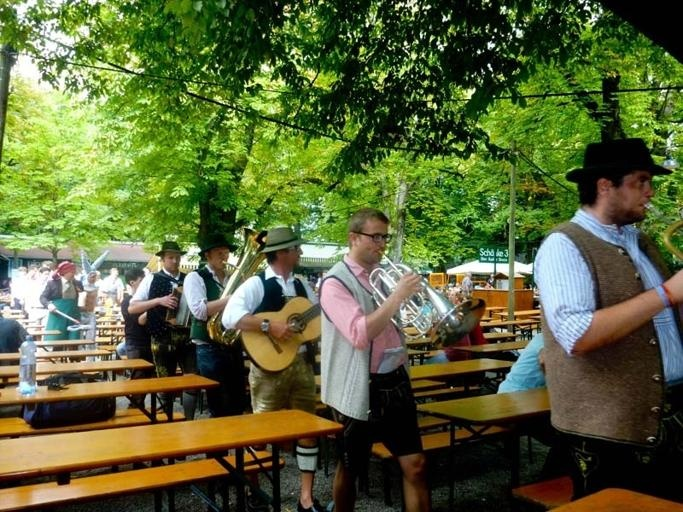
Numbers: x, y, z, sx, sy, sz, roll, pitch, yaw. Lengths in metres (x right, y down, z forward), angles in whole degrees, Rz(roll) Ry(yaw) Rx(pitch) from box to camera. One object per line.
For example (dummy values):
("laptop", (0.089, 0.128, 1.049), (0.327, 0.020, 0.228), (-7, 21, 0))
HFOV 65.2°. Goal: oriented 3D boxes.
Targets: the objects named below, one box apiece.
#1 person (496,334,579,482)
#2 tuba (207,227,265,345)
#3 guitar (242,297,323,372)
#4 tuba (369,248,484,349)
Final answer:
("person", (1.894, 1.225, 4.741), (0.932, 1.367, 0.838), (2, 3, 12))
("tuba", (-1.159, 0.351, 6.107), (0.568, 1.312, 0.508), (33, -28, -18))
("guitar", (-0.544, 0.771, 5.241), (0.960, 0.404, 0.124), (-32, -4, -42))
("tuba", (0.522, 0.285, 3.698), (0.464, 0.795, 0.416), (-6, -48, -59))
